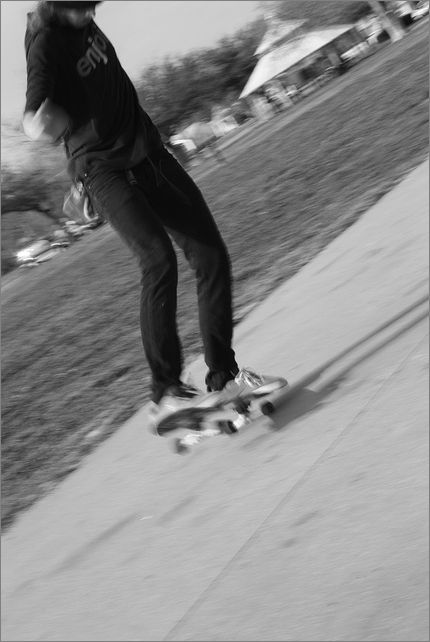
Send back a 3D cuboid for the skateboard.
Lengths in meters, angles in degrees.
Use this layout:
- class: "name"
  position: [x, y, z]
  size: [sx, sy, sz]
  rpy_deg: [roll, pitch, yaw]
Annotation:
- class: "skateboard"
  position: [0.109, 0.356, 2.317]
  size: [0.500, 0.145, 0.507]
  rpy_deg: [1, -12, -42]
